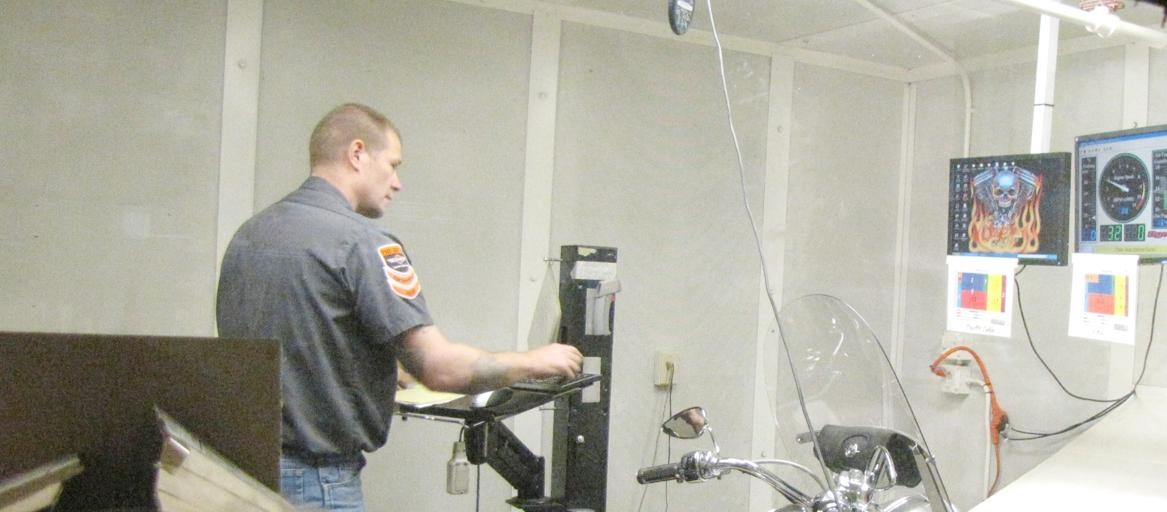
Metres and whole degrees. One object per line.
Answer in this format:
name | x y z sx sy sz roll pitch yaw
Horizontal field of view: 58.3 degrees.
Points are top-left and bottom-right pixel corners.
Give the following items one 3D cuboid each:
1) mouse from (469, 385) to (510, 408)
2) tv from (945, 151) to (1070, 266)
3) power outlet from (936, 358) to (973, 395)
mouse | -0.616 0.840 7.048 0.227 0.032 0.101 -12 31 -27
tv | 3.053 -0.167 7.476 0.803 0.591 0.096 2 5 22
power outlet | 3.064 0.893 8.620 0.274 0.219 0.074 4 -5 19
